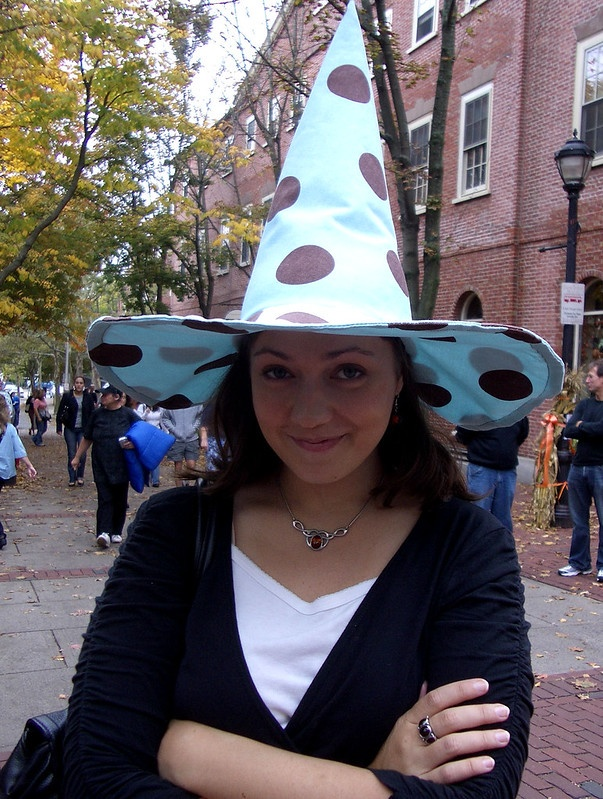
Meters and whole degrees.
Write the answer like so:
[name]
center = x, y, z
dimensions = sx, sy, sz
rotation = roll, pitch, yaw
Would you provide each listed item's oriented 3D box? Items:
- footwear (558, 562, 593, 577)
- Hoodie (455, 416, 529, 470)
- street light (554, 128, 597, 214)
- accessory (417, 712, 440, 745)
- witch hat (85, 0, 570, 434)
[footwear]
center = 2.825, 1.745, 7.258
dimensions = 0.374, 0.145, 0.125
rotation = 8, -3, -9
[Hoodie]
center = 1.943, 0.391, 7.143
dimensions = 0.717, 0.572, 0.380
rotation = -1, 11, -5
[street light]
center = 3.670, -3.118, 9.585
dimensions = 0.548, 0.974, 0.503
rotation = 1, 12, 16
[accessory]
center = 0.208, 0.546, 1.176
dimensions = 0.030, 0.043, 0.043
rotation = -26, -18, 18
[witch hat]
center = 0.099, -0.459, 1.843
dimensions = 1.124, 1.016, 1.061
rotation = 6, -14, 0
